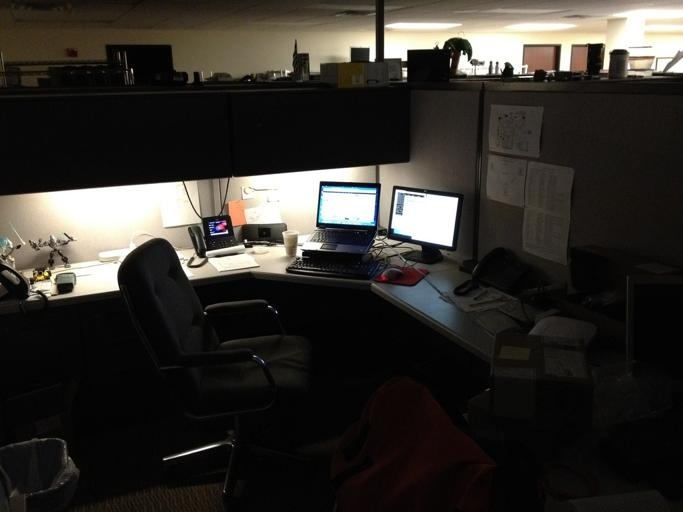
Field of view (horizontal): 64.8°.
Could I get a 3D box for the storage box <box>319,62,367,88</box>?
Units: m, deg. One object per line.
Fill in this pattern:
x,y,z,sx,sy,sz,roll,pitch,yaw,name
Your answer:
0.003,-1.149,3.410,0.215,0.132,0.214,-8,18,-24,storage box

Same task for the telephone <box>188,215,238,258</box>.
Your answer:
-0.809,-0.125,3.474,0.330,0.320,0.258,-15,9,-23,telephone

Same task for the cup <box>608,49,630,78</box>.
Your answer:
1.558,-1.091,3.046,0.099,0.152,0.236,9,25,24,cup

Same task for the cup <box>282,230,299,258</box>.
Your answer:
-0.312,-0.074,3.320,0.138,0.179,0.134,0,12,0,cup

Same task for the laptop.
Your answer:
-0.005,-0.197,3.320,0.471,0.349,0.465,6,31,18,laptop

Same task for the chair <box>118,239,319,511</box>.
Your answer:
-0.567,0.527,2.716,0.826,1.163,0.707,-1,16,-2,chair
